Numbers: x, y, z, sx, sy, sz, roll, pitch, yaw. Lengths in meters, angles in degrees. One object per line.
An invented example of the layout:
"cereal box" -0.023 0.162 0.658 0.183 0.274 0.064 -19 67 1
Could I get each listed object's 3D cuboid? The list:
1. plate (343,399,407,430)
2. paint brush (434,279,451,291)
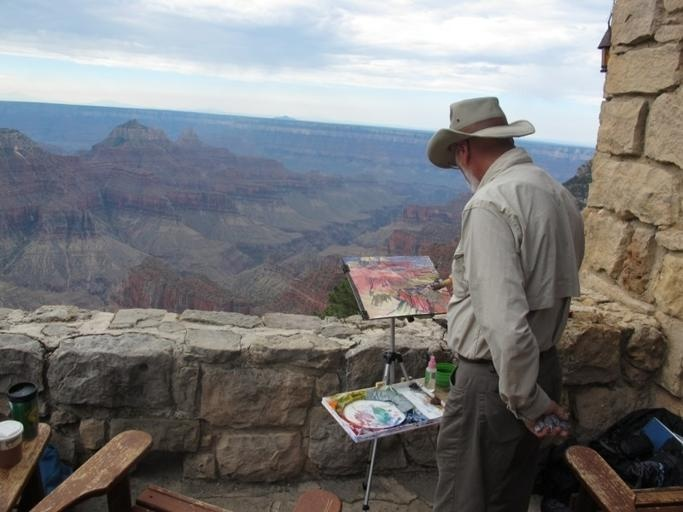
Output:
"plate" 0.216 1.054 3.582 0.408 0.074 0.312 1 7 4
"paint brush" 0.802 0.236 4.237 0.085 0.034 0.114 -19 -11 -11
